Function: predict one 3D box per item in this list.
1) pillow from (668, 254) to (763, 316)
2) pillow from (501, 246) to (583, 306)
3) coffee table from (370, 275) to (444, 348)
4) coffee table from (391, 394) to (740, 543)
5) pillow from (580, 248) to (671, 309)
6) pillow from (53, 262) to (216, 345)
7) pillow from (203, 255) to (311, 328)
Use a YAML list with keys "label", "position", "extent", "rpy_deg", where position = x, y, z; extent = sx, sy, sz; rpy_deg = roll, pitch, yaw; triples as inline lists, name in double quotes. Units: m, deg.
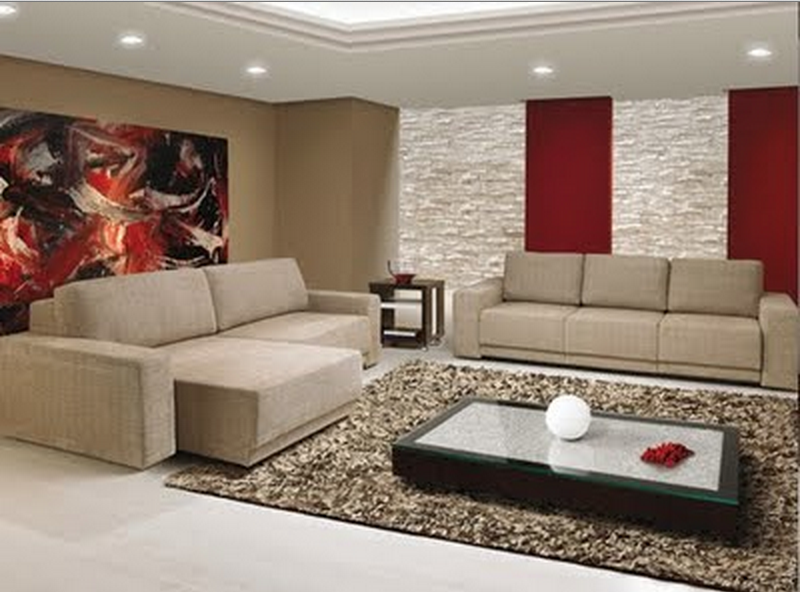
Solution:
- label: "pillow"
  position: [2.099, -0.095, 4.185]
  extent: [0.573, 0.364, 0.208]
  rpy_deg: [4, 16, 36]
- label: "pillow"
  position: [1.090, -0.152, 4.679]
  extent: [0.558, 0.401, 0.128]
  rpy_deg: [4, 4, 27]
- label: "coffee table"
  position: [0.062, 0.103, 4.905]
  extent: [0.458, 0.447, 0.341]
  rpy_deg: [1, 5, 27]
- label: "coffee table"
  position: [0.712, 0.650, 2.632]
  extent: [1.321, 0.218, 0.632]
  rpy_deg: [4, 14, 20]
- label: "pillow"
  position: [1.589, -0.120, 4.419]
  extent: [0.531, 0.389, 0.125]
  rpy_deg: [6, 0, 30]
- label: "pillow"
  position: [-1.445, 0.049, 3.423]
  extent: [0.343, 0.408, 0.973]
  rpy_deg: [2, 9, 24]
- label: "pillow"
  position: [-0.948, -0.048, 4.068]
  extent: [0.228, 0.389, 0.796]
  rpy_deg: [-4, 7, 32]
